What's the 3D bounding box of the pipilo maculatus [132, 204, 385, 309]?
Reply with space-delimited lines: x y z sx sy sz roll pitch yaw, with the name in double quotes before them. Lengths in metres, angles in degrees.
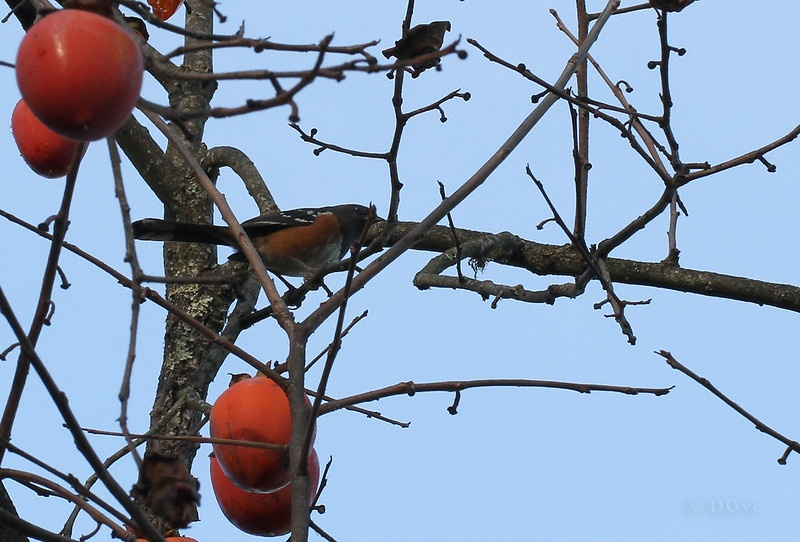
"pipilo maculatus" -0.605 -0.053 5.895 0.665 0.308 0.210 21 -36 -11
